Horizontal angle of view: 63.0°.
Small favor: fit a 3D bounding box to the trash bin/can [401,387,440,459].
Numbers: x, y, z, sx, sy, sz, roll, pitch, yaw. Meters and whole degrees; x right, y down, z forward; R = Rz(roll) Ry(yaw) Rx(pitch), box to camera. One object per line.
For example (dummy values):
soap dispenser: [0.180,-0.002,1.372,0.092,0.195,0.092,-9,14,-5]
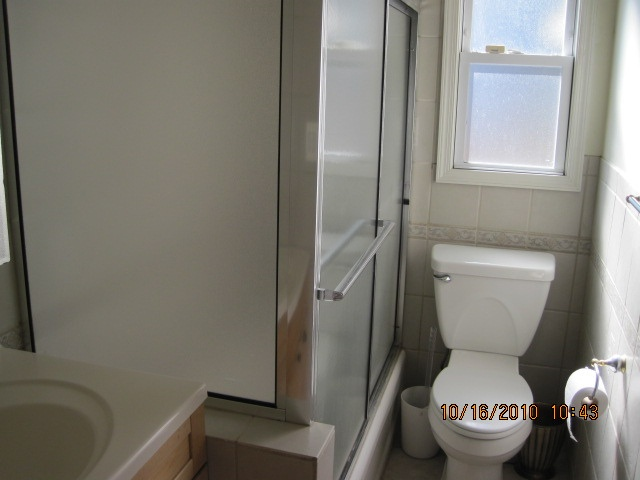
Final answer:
trash bin/can: [0.494,0.953,2.727,0.165,0.320,0.292,1,11,-1]
